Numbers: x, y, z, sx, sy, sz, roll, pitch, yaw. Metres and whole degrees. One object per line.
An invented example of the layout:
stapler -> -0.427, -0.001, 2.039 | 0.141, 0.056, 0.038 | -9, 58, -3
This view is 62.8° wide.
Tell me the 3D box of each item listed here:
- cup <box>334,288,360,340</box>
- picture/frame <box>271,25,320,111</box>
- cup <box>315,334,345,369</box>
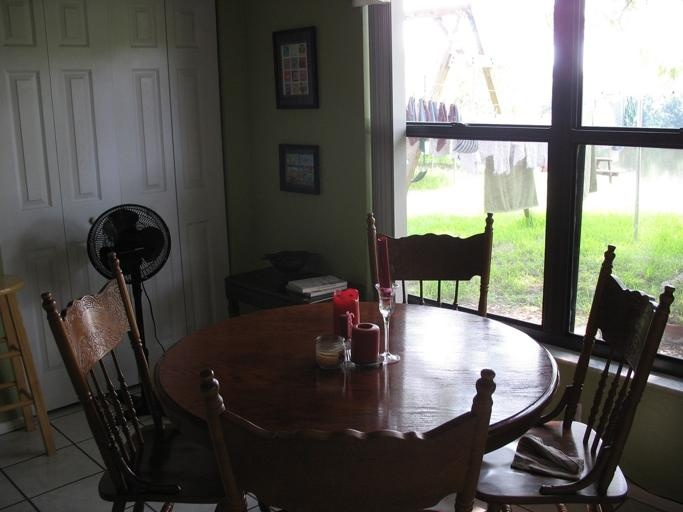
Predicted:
cup -> 0.033, 0.212, 2.140 | 0.116, 0.185, 0.119 | -7, -19, -2
picture/frame -> -0.274, -1.189, 3.483 | 0.038, 0.556, 0.452 | -14, 20, -43
cup -> -0.039, 0.340, 1.978 | 0.104, 0.113, 0.104 | 2, 6, 0
